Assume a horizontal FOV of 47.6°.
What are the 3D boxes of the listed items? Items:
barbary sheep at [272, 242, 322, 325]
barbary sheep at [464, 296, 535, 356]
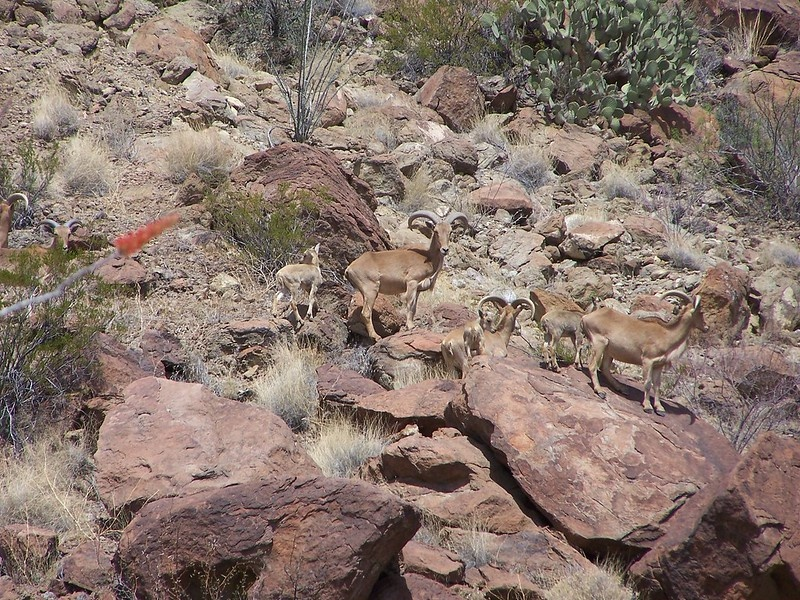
[{"bbox_3d":[-1.673,-0.206,14.691,0.728,1.135,1.060,13,39,15],"label":"barbary sheep"},{"bbox_3d":[1.395,0.499,13.318,0.973,1.131,0.655,-7,-1,-6],"label":"barbary sheep"}]
